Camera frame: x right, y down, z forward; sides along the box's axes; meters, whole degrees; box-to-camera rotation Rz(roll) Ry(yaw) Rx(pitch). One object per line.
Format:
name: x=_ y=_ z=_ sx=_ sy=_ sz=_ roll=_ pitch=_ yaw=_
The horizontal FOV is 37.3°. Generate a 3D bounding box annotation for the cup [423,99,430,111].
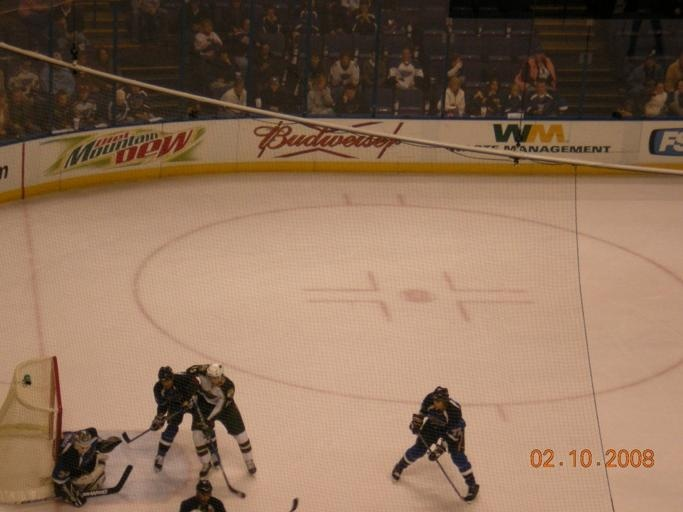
cup: x=1.573 y=-2.768 z=18.683 sx=0.171 sy=0.299 sz=0.167 roll=-2 pitch=19 yaw=1

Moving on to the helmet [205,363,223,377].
helmet: x=-1.657 y=1.498 z=13.199 sx=0.222 sy=0.162 sz=0.149 roll=0 pitch=4 yaw=-24

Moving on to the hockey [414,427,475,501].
hockey: x=1.229 y=2.682 z=13.339 sx=1.304 sy=0.437 sz=0.077 roll=47 pitch=19 yaw=9

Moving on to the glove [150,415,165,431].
glove: x=-2.403 y=2.210 z=13.238 sx=0.170 sy=0.069 sz=0.216 roll=16 pitch=41 yaw=16

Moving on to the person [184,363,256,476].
person: x=-1.612 y=2.108 z=13.295 sx=0.934 sy=1.864 sz=0.684 roll=2 pitch=25 yaw=-2

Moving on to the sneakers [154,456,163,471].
sneakers: x=-2.395 y=2.724 z=13.287 sx=0.133 sy=0.195 sz=0.079 roll=11 pitch=-21 yaw=3

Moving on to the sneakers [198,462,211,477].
sneakers: x=-1.793 y=2.805 z=13.262 sx=0.118 sy=0.084 sz=0.215 roll=2 pitch=26 yaw=11

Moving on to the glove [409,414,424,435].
glove: x=1.000 y=2.198 z=13.252 sx=0.192 sy=0.228 sz=0.242 roll=21 pitch=-2 yaw=2

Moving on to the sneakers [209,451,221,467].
sneakers: x=-1.662 y=2.667 z=13.316 sx=0.208 sy=0.181 sz=0.120 roll=-9 pitch=23 yaw=-9

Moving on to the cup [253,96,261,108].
cup: x=-1.508 y=-2.781 z=18.398 sx=0.124 sy=0.189 sz=0.165 roll=1 pitch=4 yaw=-12

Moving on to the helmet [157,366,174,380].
helmet: x=-2.313 y=1.543 z=13.285 sx=0.174 sy=0.176 sz=0.216 roll=7 pitch=29 yaw=11

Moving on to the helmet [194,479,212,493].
helmet: x=-1.733 y=2.899 z=12.731 sx=0.182 sy=0.159 sz=0.175 roll=-3 pitch=10 yaw=-14

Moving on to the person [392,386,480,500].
person: x=1.232 y=2.373 z=13.203 sx=1.230 sy=1.445 sz=0.869 roll=10 pitch=13 yaw=25

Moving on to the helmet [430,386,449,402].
helmet: x=1.279 y=1.795 z=13.128 sx=0.218 sy=0.173 sz=0.196 roll=2 pitch=3 yaw=5

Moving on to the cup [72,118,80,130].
cup: x=-4.657 y=-2.324 z=17.780 sx=0.107 sy=0.209 sz=0.059 roll=0 pitch=4 yaw=-19
